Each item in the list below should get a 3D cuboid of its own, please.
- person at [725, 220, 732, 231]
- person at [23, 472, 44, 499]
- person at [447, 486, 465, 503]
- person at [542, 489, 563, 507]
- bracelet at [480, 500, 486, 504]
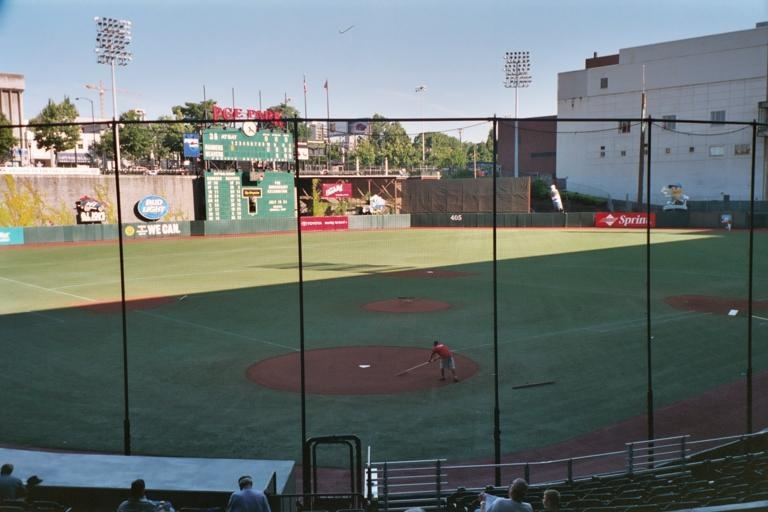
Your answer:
[{"bbox_3d":[32.268,-2.672,120.089,0.697,0.733,0.717,-2,11,-6],"label":"person"},{"bbox_3d":[-19.033,12.609,70.166,0.916,1.110,0.406,7,-10,21],"label":"person"},{"bbox_3d":[4.022,13.218,71.080,0.967,0.521,0.891,-1,6,5],"label":"person"},{"bbox_3d":[9.076,13.062,69.354,0.873,1.201,1.161,0,11,5],"label":"person"},{"bbox_3d":[5.395,13.315,69.585,0.226,0.133,0.124,-6,10,-34],"label":"bracelet"}]
